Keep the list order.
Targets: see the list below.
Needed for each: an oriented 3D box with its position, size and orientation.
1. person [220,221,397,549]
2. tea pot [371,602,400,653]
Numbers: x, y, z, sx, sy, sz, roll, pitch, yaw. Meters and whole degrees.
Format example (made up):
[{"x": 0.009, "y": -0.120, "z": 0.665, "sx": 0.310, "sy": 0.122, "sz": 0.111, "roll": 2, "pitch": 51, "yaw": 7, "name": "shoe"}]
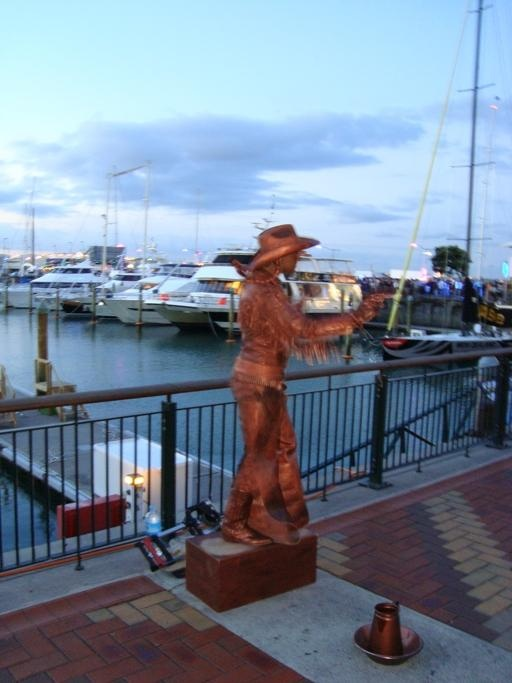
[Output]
[{"x": 0.146, "y": 0.255, "z": 2.695, "sx": 0.464, "sy": 1.574, "sz": 0.512, "roll": 3, "pitch": 5, "yaw": -10, "name": "person"}, {"x": 0.565, "y": 1.233, "z": 2.536, "sx": 0.136, "sy": 0.160, "sz": 0.191, "roll": 4, "pitch": 5, "yaw": 12, "name": "tea pot"}]
